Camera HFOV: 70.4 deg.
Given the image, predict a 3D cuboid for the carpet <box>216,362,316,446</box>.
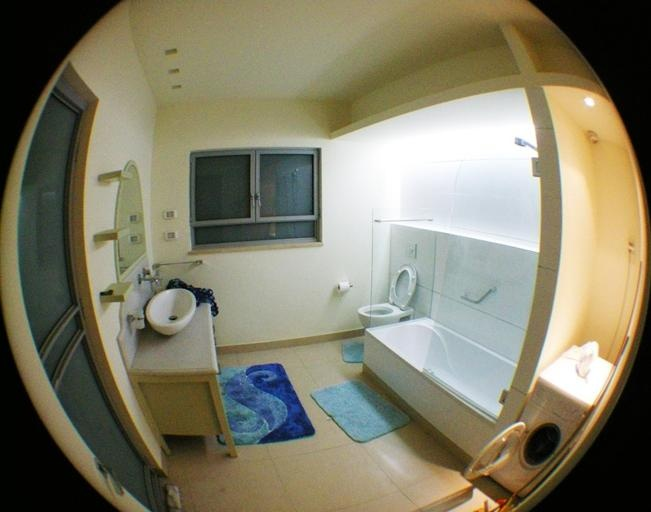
[{"bbox_3d":[-0.167,0.361,1.148,0.253,0.008,0.279,-9,35,-32],"label":"carpet"}]
